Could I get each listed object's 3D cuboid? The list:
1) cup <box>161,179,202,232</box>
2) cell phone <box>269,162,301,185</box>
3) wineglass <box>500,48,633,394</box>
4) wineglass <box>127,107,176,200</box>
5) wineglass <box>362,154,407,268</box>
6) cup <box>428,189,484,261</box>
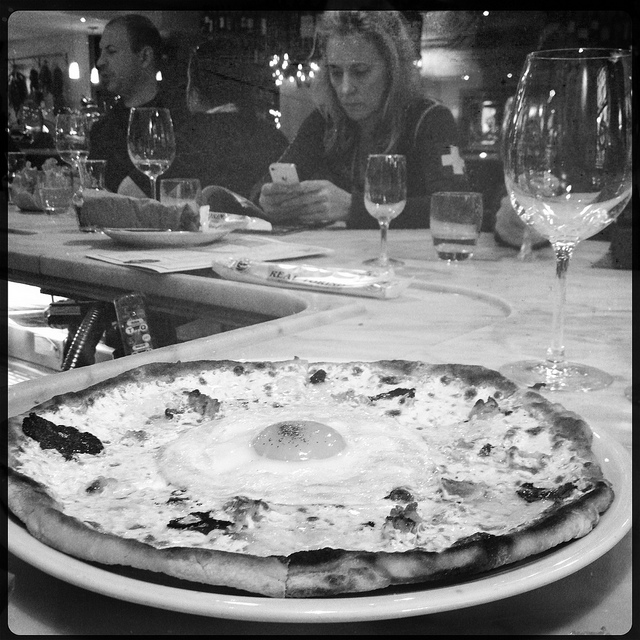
[{"bbox_3d":[-0.282,-0.237,1.439,0.090,0.109,0.096,5,15,-1],"label":"cup"},{"bbox_3d":[-0.084,-0.348,1.675,0.074,0.020,0.076,2,-20,-7],"label":"cell phone"},{"bbox_3d":[0.198,-0.086,0.573,0.098,0.268,0.120,-1,8,-8],"label":"wineglass"},{"bbox_3d":[-0.385,-0.387,1.616,0.100,0.216,0.186,-2,8,-14],"label":"wineglass"},{"bbox_3d":[0.113,-0.198,1.240,0.071,0.198,0.214,0,8,5],"label":"wineglass"},{"bbox_3d":[0.243,-0.167,1.228,0.097,0.124,0.098,-1,15,0],"label":"cup"}]
